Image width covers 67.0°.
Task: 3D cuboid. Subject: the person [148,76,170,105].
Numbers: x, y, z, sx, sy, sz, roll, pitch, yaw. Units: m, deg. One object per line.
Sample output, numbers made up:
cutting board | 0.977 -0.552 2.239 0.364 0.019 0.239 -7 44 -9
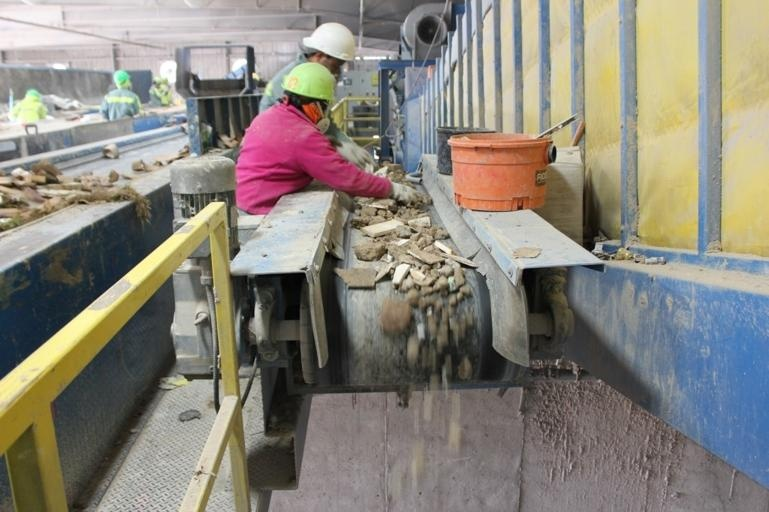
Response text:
person | -5.543 -4.021 14.299 0.448 0.643 1.091 -6 19 -17

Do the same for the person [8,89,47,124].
person | -4.350 -1.818 7.093 0.239 0.380 1.049 -6 20 -19

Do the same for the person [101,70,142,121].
person | -4.282 -2.511 9.474 0.554 0.898 0.577 -2 -2 -10

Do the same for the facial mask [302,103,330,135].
facial mask | -0.529 -1.092 4.566 0.116 0.219 0.157 -22 14 16
